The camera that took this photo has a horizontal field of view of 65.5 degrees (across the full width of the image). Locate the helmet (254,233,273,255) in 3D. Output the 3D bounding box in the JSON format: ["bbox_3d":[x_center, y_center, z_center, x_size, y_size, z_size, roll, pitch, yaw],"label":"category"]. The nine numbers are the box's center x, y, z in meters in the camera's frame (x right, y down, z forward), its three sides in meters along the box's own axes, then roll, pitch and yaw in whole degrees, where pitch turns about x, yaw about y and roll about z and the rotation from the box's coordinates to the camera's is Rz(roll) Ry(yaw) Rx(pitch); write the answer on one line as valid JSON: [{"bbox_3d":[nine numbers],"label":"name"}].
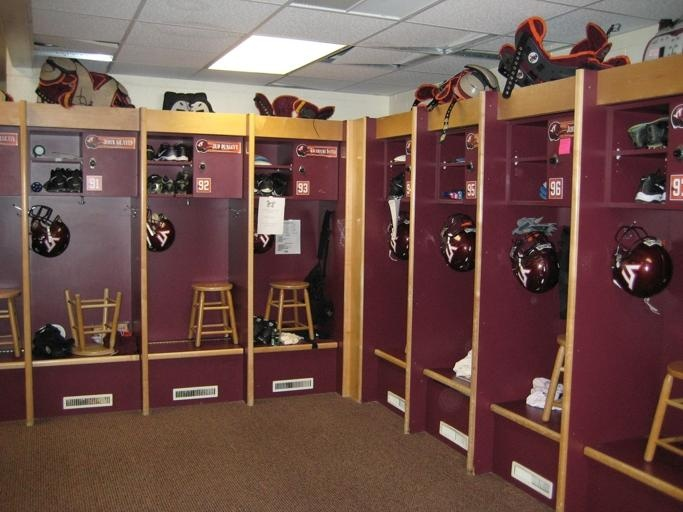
[{"bbox_3d":[-0.844,-0.140,5.857,0.173,0.169,0.197,-16,-1,-43],"label":"helmet"}]

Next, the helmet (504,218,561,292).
[{"bbox_3d":[1.418,-0.011,3.877,0.339,0.520,0.298,4,8,22],"label":"helmet"}]

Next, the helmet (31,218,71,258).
[{"bbox_3d":[-2.821,-0.168,5.188,0.378,0.398,0.298,2,3,5],"label":"helmet"}]

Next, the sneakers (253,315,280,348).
[{"bbox_3d":[-0.801,0.810,5.615,0.250,0.259,0.098,21,-27,-9],"label":"sneakers"}]

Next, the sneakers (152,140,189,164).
[{"bbox_3d":[-1.726,-1.058,5.396,0.222,0.148,0.362,-5,11,-39],"label":"sneakers"}]

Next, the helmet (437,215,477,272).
[{"bbox_3d":[0.979,-0.120,4.509,0.282,0.465,0.313,2,7,10],"label":"helmet"}]

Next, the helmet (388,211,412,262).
[{"bbox_3d":[0.597,-0.177,5.242,0.256,0.424,0.186,-3,4,40],"label":"helmet"}]

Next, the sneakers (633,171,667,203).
[{"bbox_3d":[1.961,-0.427,3.287,0.160,0.196,0.259,-2,8,-18],"label":"sneakers"}]

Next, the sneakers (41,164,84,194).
[{"bbox_3d":[-2.660,-0.721,5.072,0.286,0.301,0.109,4,-9,-5],"label":"sneakers"}]

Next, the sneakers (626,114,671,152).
[{"bbox_3d":[1.898,-0.749,3.289,0.080,0.174,0.224,-11,12,-38],"label":"sneakers"}]
